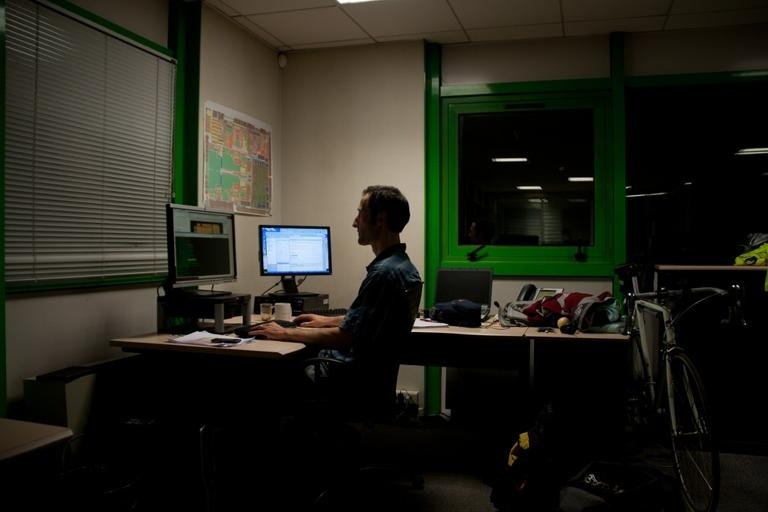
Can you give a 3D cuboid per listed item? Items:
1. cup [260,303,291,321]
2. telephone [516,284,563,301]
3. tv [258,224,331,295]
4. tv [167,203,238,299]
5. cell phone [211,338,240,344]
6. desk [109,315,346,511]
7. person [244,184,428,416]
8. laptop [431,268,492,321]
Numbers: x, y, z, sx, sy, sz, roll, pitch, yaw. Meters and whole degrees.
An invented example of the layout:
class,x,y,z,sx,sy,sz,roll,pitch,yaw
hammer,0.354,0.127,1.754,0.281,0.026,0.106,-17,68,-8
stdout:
class,x,y,z,sx,sy,sz,roll,pitch,yaw
cup,-0.800,0.413,4.202,0.215,0.153,0.124,-1,-2,10
telephone,1.267,0.300,4.605,0.278,0.122,0.201,-2,0,19
tv,-0.783,0.012,4.827,0.624,0.500,0.219,5,-16,-28
tv,-1.242,-0.028,3.826,0.116,0.576,0.719,-1,-1,26
cell phone,-0.985,0.526,3.523,0.110,0.025,0.063,1,-1,-2
desk,-0.970,0.873,3.908,1.180,1.059,1.169,0,-3,20
person,-0.064,0.359,4.241,1.265,1.877,1.032,4,-3,16
laptop,0.612,0.256,4.524,0.503,0.374,0.385,-2,-14,24
